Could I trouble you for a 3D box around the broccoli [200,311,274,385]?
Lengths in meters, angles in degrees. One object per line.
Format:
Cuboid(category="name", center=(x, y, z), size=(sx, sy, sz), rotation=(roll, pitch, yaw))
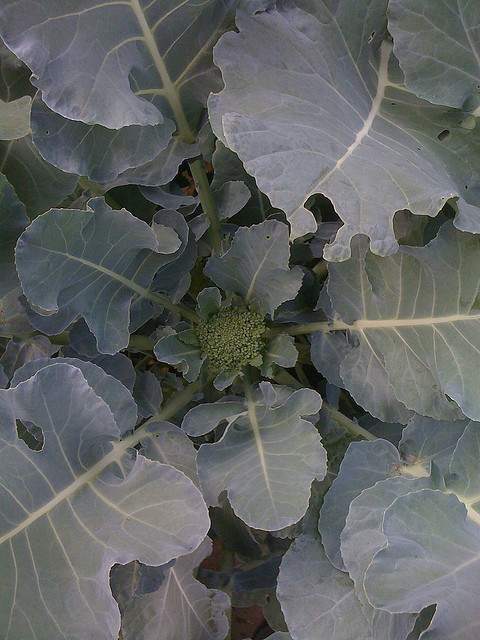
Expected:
Cuboid(category="broccoli", center=(-0.003, 0.044, 1.100), size=(0.123, 0.040, 0.125), rotation=(33, 93, -11))
